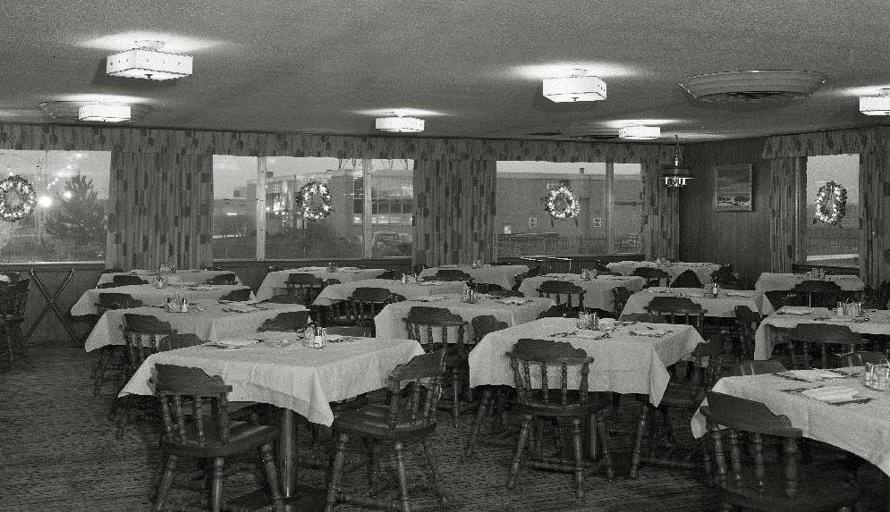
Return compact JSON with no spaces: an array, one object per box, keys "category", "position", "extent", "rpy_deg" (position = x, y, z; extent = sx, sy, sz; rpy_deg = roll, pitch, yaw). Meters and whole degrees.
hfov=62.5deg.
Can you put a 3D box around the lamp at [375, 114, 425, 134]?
[{"category":"lamp","position":[-0.700,-1.930,10.749],"extent":[0.449,0.142,0.458],"rpy_deg":[2,2,36]}]

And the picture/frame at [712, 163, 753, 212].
[{"category":"picture/frame","position":[5.637,-1.343,14.218],"extent":[1.112,1.154,0.097],"rpy_deg":[1,7,41]}]

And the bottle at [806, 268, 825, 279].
[{"category":"bottle","position":[5.608,0.261,11.038],"extent":[0.182,0.095,0.164],"rpy_deg":[-2,0,-2]}]

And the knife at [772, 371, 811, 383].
[{"category":"knife","position":[2.779,0.932,5.767],"extent":[0.307,0.051,0.223],"rpy_deg":[1,4,29]}]

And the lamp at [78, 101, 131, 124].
[{"category":"lamp","position":[-4.486,-1.875,9.767],"extent":[0.503,0.152,0.433],"rpy_deg":[-1,-1,-4]}]

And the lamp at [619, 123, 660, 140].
[{"category":"lamp","position":[3.173,-1.979,11.883],"extent":[0.458,0.134,0.383],"rpy_deg":[1,2,5]}]

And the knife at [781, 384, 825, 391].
[{"category":"knife","position":[2.720,0.988,5.517],"extent":[0.397,0.026,0.113],"rpy_deg":[-2,4,-23]}]

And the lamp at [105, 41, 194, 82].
[{"category":"lamp","position":[-3.011,-1.936,7.466],"extent":[0.511,0.241,0.485],"rpy_deg":[-1,2,-32]}]

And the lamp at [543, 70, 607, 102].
[{"category":"lamp","position":[1.511,-1.907,8.403],"extent":[0.566,0.273,0.373],"rpy_deg":[2,2,19]}]

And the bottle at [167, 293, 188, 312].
[{"category":"bottle","position":[-2.919,0.513,8.058],"extent":[0.272,0.216,0.254],"rpy_deg":[1,-1,0]}]

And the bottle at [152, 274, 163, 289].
[{"category":"bottle","position":[-3.864,0.350,9.931],"extent":[0.157,0.175,0.488],"rpy_deg":[0,-1,-18]}]

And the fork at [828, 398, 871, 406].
[{"category":"fork","position":[2.949,1.042,5.284],"extent":[0.340,0.027,0.082],"rpy_deg":[-1,3,-13]}]

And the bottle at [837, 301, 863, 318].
[{"category":"bottle","position":[4.256,0.568,7.732],"extent":[0.260,0.143,0.164],"rpy_deg":[-2,-2,45]}]
